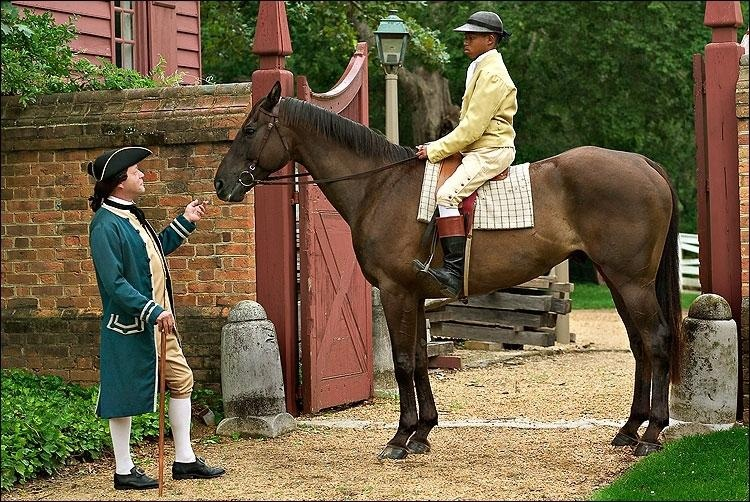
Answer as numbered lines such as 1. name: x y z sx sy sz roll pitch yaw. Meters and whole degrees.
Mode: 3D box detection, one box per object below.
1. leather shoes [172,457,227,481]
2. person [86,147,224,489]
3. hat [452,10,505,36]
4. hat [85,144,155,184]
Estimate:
1. leather shoes: -1.856 2.291 15.206 0.550 0.203 0.202 0 0 -7
2. person: -2.372 0.684 15.005 1.214 3.468 0.947 -7 12 -28
3. hat: 1.145 -2.437 15.630 0.416 0.153 0.289 3 2 -14
4. hat: -2.646 -0.900 14.952 0.527 0.203 0.379 -29 7 -21
